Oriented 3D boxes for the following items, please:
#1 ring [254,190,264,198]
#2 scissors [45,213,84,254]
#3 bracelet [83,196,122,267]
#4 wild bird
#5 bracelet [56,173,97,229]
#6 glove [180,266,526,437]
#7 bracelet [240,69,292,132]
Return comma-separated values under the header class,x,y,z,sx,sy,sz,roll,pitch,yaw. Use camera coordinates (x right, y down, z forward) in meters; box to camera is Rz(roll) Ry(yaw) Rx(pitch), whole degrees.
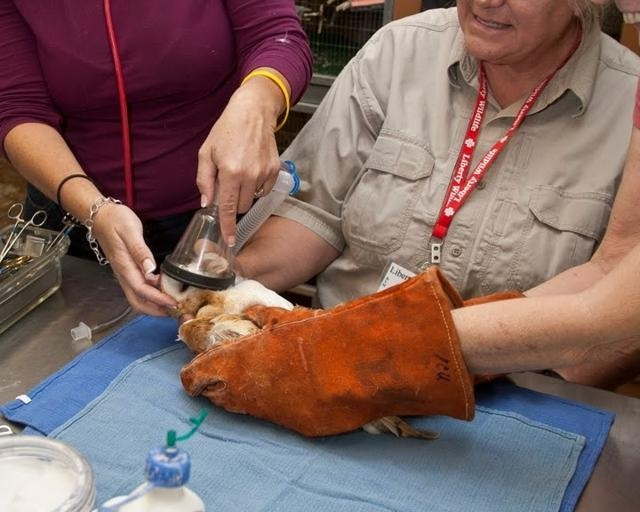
class,x,y,z,sx,sy,sz,roll,pitch,yaw
ring,-0.138,-0.142,1.217,0.018,0.017,0.014,-15,25,-20
scissors,-0.644,-0.067,1.371,0.054,0.006,0.138,34,70,0
bracelet,-0.503,-0.060,1.251,0.115,0.168,0.030,28,41,30
wild bird,-0.066,0.098,1.171,0.676,0.386,0.245,26,65,34
bracelet,-0.592,-0.128,1.307,0.103,0.134,0.040,-16,5,-8
glove,0.032,0.250,0.980,0.506,0.337,0.214,-15,61,27
bracelet,-0.118,-0.356,1.283,0.105,0.145,0.036,3,-2,-18
